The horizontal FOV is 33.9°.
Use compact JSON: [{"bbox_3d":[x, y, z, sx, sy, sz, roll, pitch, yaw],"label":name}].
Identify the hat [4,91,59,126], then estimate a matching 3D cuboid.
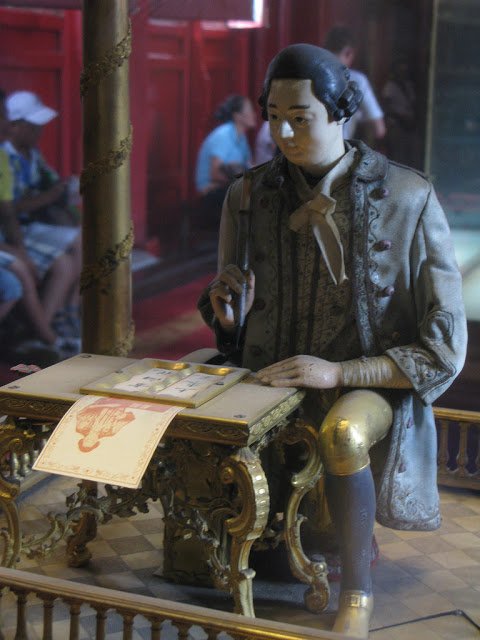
[{"bbox_3d":[-1.241,-1.264,4.726,0.296,0.116,0.157,7,28,-3],"label":"hat"}]
